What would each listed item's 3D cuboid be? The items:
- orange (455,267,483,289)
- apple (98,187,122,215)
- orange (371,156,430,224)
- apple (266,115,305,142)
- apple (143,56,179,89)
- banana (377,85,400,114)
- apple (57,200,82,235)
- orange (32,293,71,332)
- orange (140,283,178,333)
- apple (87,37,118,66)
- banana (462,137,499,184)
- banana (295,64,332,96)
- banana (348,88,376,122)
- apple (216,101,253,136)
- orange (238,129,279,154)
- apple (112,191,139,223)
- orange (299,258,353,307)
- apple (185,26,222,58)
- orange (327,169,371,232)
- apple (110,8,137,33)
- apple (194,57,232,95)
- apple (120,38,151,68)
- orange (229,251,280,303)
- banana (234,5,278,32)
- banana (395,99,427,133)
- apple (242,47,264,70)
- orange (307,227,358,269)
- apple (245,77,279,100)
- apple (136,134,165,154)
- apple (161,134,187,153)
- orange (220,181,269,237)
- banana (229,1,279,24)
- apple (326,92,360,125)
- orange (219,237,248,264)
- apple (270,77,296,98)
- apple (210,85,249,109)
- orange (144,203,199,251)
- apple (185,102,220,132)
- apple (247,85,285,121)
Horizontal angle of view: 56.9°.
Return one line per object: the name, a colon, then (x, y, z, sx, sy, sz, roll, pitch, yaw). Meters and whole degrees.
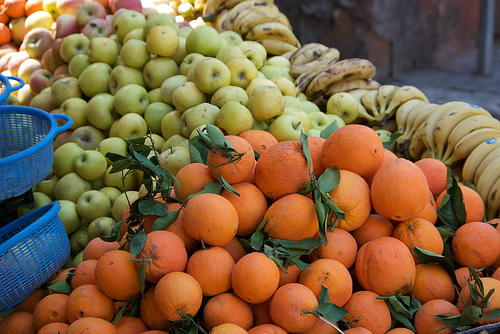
orange: (0.931, 0.473, 1.952, 0.095, 0.088, 0.089, 8, 58, 17)
apple: (-0.852, 0.210, 2.847, 0.135, 0.185, 0.144, -1, -1, 25)
orange: (0.644, 0.105, 2.055, 0.234, 0.313, 0.252, 1, -6, 16)
apple: (0.200, -0.217, 2.579, 0.181, 0.164, 0.151, 21, -33, -30)
apple: (-0.607, -0.622, 3.195, 0.237, 0.222, 0.213, -14, 45, -5)
banana: (0.946, -0.491, 3.180, 0.095, 0.093, 0.280, 36, 51, -3)
apple: (-1.078, 0.294, 2.763, 0.161, 0.216, 0.162, -3, 1, -29)
orange: (-0.864, 0.641, 2.023, 0.112, 0.106, 0.103, -13, 27, 44)
orange: (-0.397, 0.591, 1.992, 0.158, 0.222, 0.170, 1, 2, -4)
apple: (-1.007, -0.809, 3.264, 0.201, 0.203, 0.184, 2, 36, 7)
banana: (1.232, -0.042, 2.498, 0.071, 0.221, 0.218, 15, 22, -19)
banana: (0.443, -0.596, 3.212, 0.148, 0.133, 0.442, -23, 6, -28)
banana: (0.777, -0.442, 3.236, 0.109, 0.089, 0.327, 7, 44, -24)
apple: (-0.088, -0.261, 2.614, 0.179, 0.195, 0.192, 13, -7, 9)
orange: (0.049, -0.133, 2.333, 0.145, 0.105, 0.122, 10, 4, 5)
apple: (-0.777, 0.265, 2.754, 0.127, 0.161, 0.132, 24, -20, -3)
orange: (0.334, 0.453, 2.009, 0.179, 0.204, 0.201, 1, 24, 22)
apple: (-0.312, -0.830, 3.065, 0.220, 0.215, 0.210, 1, 11, -3)
orange: (0.443, 0.148, 2.064, 0.192, 0.246, 0.140, 5, 23, 5)
apple: (-0.975, -1.118, 3.556, 0.147, 0.171, 0.159, -1, 9, 7)
apple: (-0.217, -0.550, 2.784, 0.185, 0.210, 0.231, -3, 10, 7)
apple: (-0.773, -0.757, 3.161, 0.204, 0.222, 0.200, 4, 1, 6)
orange: (0.012, 0.460, 1.966, 0.180, 0.241, 0.197, 4, 8, -1)
banana: (0.014, -1.254, 3.770, 0.232, 0.079, 0.233, 43, 47, 16)
banana: (1.038, -0.334, 2.997, 0.065, 0.198, 0.265, 31, 43, -17)
apple: (0.021, -0.738, 3.205, 0.133, 0.154, 0.139, 6, 24, 8)
orange: (0.368, 0.349, 2.099, 0.178, 0.180, 0.171, 35, 7, -3)
apple: (0.071, -0.491, 2.868, 0.137, 0.146, 0.146, -17, 48, -37)
apple: (-0.607, -0.155, 2.861, 0.155, 0.148, 0.138, 15, 12, 9)
apple: (-0.460, -0.131, 2.787, 0.103, 0.129, 0.112, 12, 53, -30)
orange: (-0.010, 0.164, 2.038, 0.201, 0.273, 0.217, 0, 7, 4)
banana: (0.002, -1.312, 3.862, 0.328, 0.211, 0.096, -8, -23, -19)
apple: (0.641, -0.420, 3.141, 0.137, 0.160, 0.141, 3, 5, 1)
orange: (-0.073, 0.359, 2.028, 0.088, 0.122, 0.096, -3, 4, 2)
apple: (0.228, -0.521, 3.012, 0.119, 0.149, 0.130, -8, -16, 1)
apple: (-0.103, -0.412, 2.726, 0.152, 0.168, 0.148, 1, -3, -21)
orange: (-0.323, 0.271, 2.094, 0.179, 0.227, 0.184, -7, -15, -16)
apple: (-0.279, -0.300, 2.669, 0.166, 0.176, 0.159, -9, 4, 12)
apple: (0.092, -0.350, 2.554, 0.169, 0.183, 0.173, -6, 8, -3)
